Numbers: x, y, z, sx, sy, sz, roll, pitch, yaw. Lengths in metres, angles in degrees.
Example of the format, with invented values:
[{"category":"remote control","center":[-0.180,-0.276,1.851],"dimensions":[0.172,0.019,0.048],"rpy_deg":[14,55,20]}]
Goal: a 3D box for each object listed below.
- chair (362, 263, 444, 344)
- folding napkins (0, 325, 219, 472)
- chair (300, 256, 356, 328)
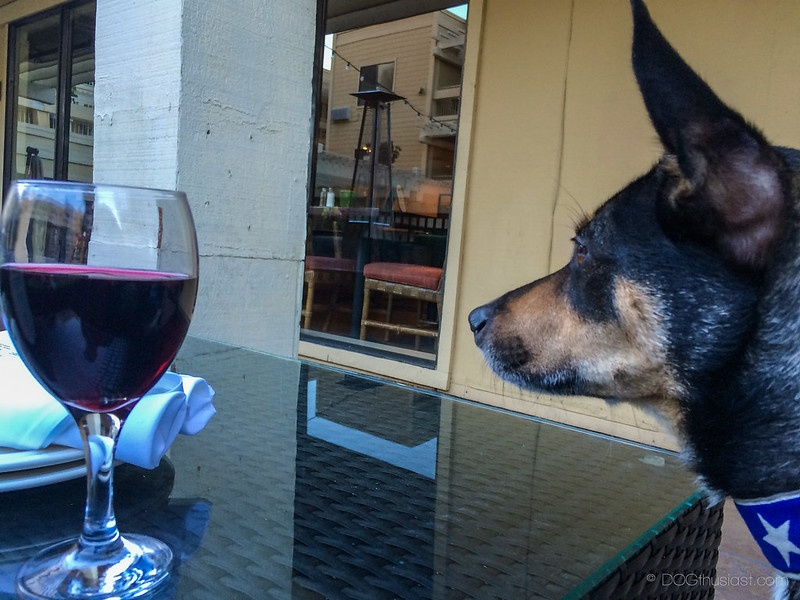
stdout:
[{"category":"chair","center":[0.018,0.062,4.601],"dimensions":[0.500,0.555,0.683],"rpy_deg":[16,-1,-4]},{"category":"folding napkins","center":[-0.342,0.084,0.831],"dimensions":[0.205,0.060,0.193],"rpy_deg":[7,9,22]},{"category":"chair","center":[-0.551,-0.066,4.944],"dimensions":[0.467,0.628,0.472],"rpy_deg":[2,2,-4]}]
